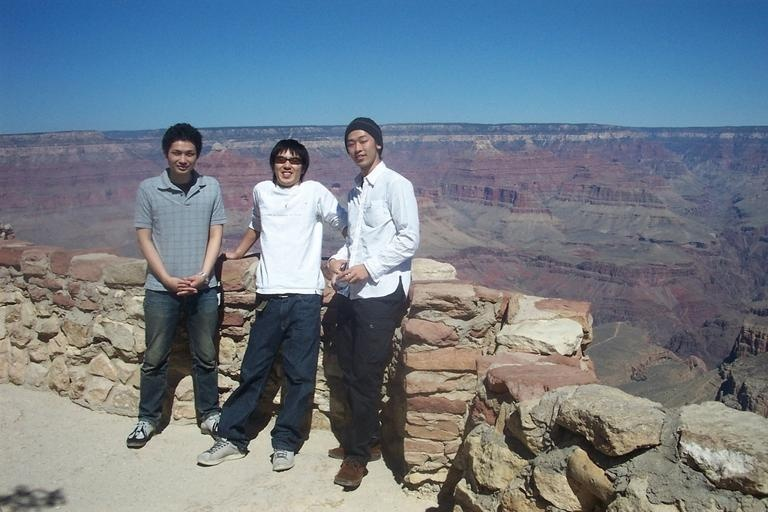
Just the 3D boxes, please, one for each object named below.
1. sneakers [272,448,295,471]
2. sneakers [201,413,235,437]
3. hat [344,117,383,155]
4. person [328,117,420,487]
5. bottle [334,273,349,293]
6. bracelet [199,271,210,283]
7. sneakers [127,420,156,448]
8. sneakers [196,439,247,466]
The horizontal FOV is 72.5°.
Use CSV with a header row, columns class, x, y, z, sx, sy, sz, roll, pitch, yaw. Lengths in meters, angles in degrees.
class,x,y,z,sx,sy,sz,roll,pitch,yaw
sneakers,-0.713,1.429,3.664,0.148,0.138,0.092,0,18,-12
sneakers,-1.341,1.286,4.074,0.341,0.130,0.163,2,0,35
hat,-0.123,-0.826,3.621,0.288,0.253,0.296,0,17,-14
person,-0.097,0.318,3.635,0.599,2.451,0.940,3,18,-6
bottle,-0.297,0.192,3.667,0.121,0.115,0.113,10,-24,-20
bracelet,-1.309,0.152,3.803,0.055,0.073,0.080,11,6,8
sneakers,-1.836,1.322,3.901,0.112,0.119,0.285,16,-5,-5
sneakers,-1.161,1.395,3.692,0.356,0.143,0.139,5,1,-23
